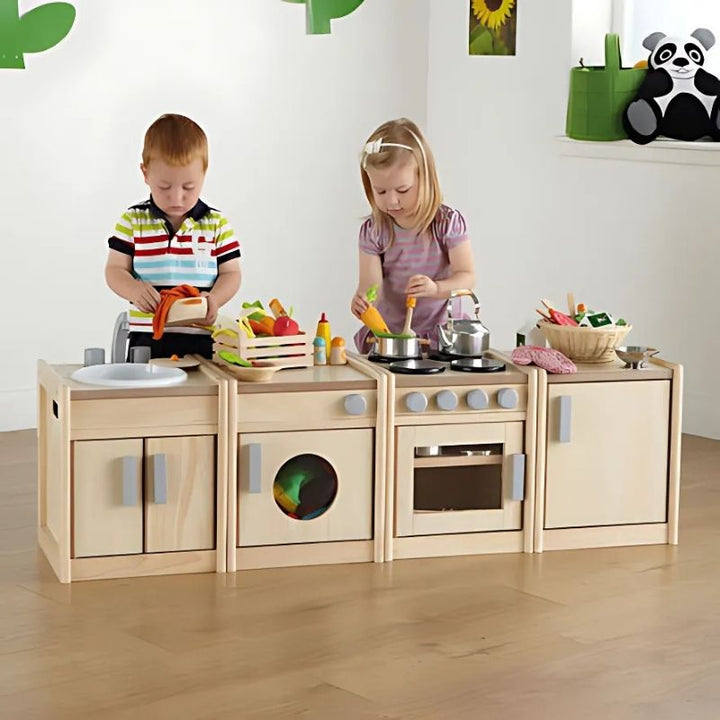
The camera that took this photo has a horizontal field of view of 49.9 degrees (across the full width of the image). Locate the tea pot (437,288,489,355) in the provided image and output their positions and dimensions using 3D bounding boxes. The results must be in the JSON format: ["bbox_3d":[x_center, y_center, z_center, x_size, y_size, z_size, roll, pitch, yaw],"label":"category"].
[{"bbox_3d":[0.235,-0.091,1.973,0.135,0.173,0.203,4,7,27],"label":"tea pot"}]

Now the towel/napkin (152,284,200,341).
[{"bbox_3d":[-0.437,-0.114,1.834,0.126,0.134,0.114,3,-4,-8],"label":"towel/napkin"}]

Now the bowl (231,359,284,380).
[{"bbox_3d":[-0.228,0.022,1.658,0.108,0.041,0.120,1,3,-9],"label":"bowl"}]

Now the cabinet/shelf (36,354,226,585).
[{"bbox_3d":[-0.404,0.173,1.765,0.543,0.540,0.399,-2,5,-19],"label":"cabinet/shelf"}]

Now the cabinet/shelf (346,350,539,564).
[{"bbox_3d":[0.209,0.212,1.936,0.478,0.482,0.439,-1,3,-15],"label":"cabinet/shelf"}]

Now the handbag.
[{"bbox_3d":[1.068,-1.140,3.200,0.424,0.403,0.294,-21,38,-33],"label":"handbag"}]
